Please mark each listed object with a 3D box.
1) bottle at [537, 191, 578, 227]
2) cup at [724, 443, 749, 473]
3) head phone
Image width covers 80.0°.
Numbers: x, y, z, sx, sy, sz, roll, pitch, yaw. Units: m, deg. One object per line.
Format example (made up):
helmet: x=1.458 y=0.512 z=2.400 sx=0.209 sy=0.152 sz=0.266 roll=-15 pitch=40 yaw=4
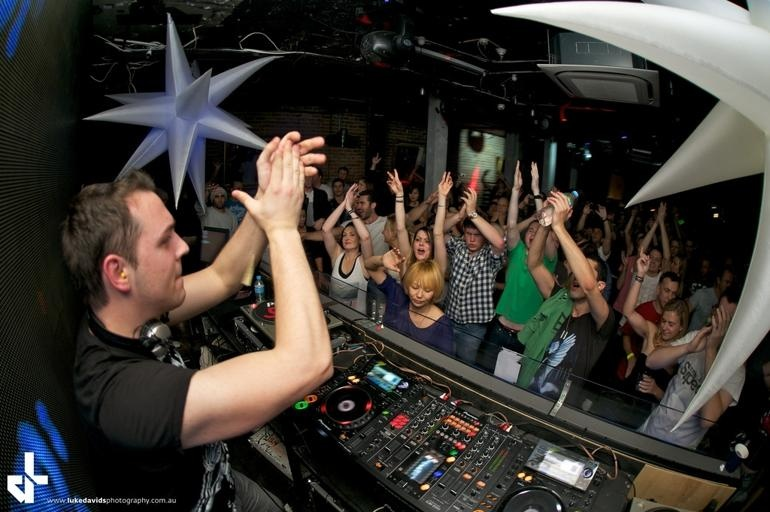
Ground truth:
bottle: x=1.084 y=-0.287 z=2.856 sx=0.310 sy=0.232 sz=0.163 roll=-10 pitch=27 yaw=-28
cup: x=1.348 y=0.781 z=1.768 sx=0.070 sy=0.113 sz=0.052 roll=-9 pitch=27 yaw=-27
head phone: x=-0.791 y=0.238 z=1.388 sx=0.232 sy=0.209 sz=0.089 roll=-2 pitch=64 yaw=24
